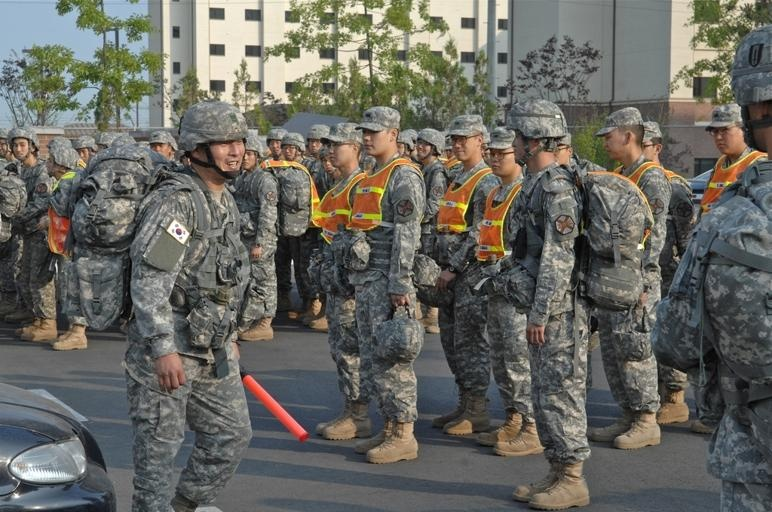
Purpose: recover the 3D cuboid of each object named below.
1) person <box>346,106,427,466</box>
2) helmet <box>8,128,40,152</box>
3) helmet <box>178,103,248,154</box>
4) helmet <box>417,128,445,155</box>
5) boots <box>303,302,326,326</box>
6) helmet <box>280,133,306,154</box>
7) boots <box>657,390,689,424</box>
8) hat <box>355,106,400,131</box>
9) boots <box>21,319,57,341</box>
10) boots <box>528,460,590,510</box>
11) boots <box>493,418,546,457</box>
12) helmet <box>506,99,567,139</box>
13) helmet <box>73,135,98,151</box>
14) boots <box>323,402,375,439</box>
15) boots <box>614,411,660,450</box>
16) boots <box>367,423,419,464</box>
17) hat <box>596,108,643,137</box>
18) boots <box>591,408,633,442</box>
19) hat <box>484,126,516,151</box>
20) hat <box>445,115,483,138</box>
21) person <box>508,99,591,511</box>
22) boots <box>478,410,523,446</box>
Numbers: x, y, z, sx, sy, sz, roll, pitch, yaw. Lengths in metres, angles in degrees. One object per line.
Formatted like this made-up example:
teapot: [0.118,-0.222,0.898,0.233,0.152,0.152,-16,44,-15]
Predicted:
person: [0.005,0.286,13.496,0.795,3.714,1.338,-1,15,-1]
helmet: [-5.585,-1.798,18.936,0.373,0.313,0.451,-7,11,-5]
helmet: [-1.589,-1.210,11.409,0.586,0.413,0.490,-1,13,3]
helmet: [0.639,-1.639,17.451,0.452,0.306,0.344,2,12,-39]
boots: [-1.129,0.917,19.471,0.236,0.362,0.556,-1,-8,24]
helmet: [-1.547,-1.869,20.255,0.311,0.270,0.402,3,8,29]
boots: [3.305,1.720,14.489,0.522,0.426,0.204,-5,5,-22]
hat: [-0.067,-1.523,13.615,0.407,0.170,0.271,0,5,-9]
boots: [-5.186,1.106,18.315,0.385,0.242,0.430,2,-2,-30]
boots: [1.768,2.331,12.376,0.796,0.586,0.314,1,-4,0]
boots: [1.471,1.970,13.633,0.722,0.444,0.255,2,-2,-37]
helmet: [1.533,-1.407,12.616,0.542,0.361,0.382,-6,14,-5]
helmet: [-5.005,-1.877,20.402,0.279,0.202,0.282,-3,2,-16]
boots: [-0.479,1.852,14.096,0.708,0.426,0.281,2,1,-43]
boots: [2.799,1.915,13.778,0.657,0.393,0.222,-4,4,-35]
boots: [0.027,1.987,13.428,0.670,0.531,0.237,0,-11,-34]
hat: [2.699,-1.556,14.246,0.502,0.223,0.314,-4,1,2]
boots: [2.545,1.896,13.996,0.643,0.345,0.245,4,5,-31]
hat: [1.273,-1.329,13.708,0.341,0.150,0.246,-1,4,-26]
hat: [0.955,-1.543,14.606,0.364,0.148,0.257,0,1,-25]
person: [1.666,0.468,12.444,0.838,3.964,1.321,0,15,4]
boots: [1.303,1.910,13.799,0.609,0.377,0.221,6,4,-31]
